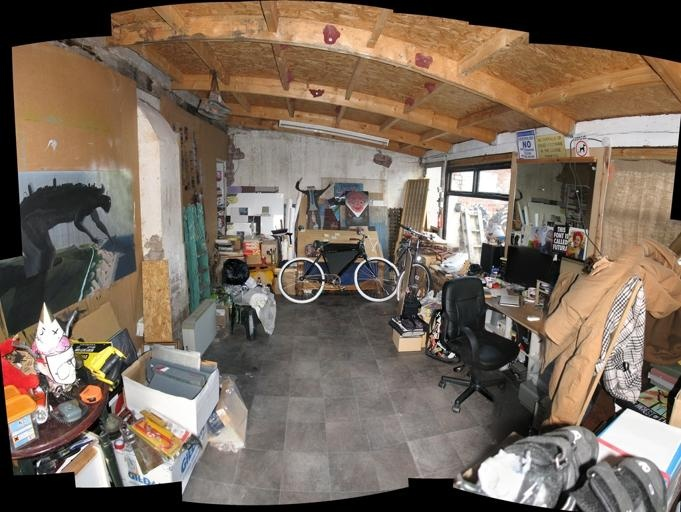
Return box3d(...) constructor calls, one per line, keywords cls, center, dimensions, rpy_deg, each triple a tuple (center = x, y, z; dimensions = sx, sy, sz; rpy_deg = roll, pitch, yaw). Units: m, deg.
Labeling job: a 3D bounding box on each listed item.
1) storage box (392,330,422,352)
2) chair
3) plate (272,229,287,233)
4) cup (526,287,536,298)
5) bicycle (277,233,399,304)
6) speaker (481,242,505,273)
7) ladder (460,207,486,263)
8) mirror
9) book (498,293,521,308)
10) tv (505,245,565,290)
box3d(cls="storage box", center=(0.825, 1.051, 5.369), dimensions=(0.251, 0.158, 0.252), rpy_deg=(0, 2, -3))
box3d(cls="chair", center=(1.313, 0.833, 4.210), dimensions=(0.713, 1.137, 0.758), rpy_deg=(5, 15, 25))
box3d(cls="plate", center=(-1.124, -0.459, 8.257), dimensions=(0.294, 0.090, 0.290), rpy_deg=(3, 11, -5))
box3d(cls="cup", center=(2.021, 0.385, 4.654), dimensions=(0.063, 0.106, 0.169), rpy_deg=(7, 12, 17))
box3d(cls="bicycle", center=(-0.005, 0.244, 7.406), dimensions=(2.044, 1.192, 0.836), rpy_deg=(0, -21, -4))
box3d(cls="speaker", center=(1.958, 0.032, 5.606), dimensions=(0.189, 0.364, 0.372), rpy_deg=(0, 4, -7))
box3d(cls="ladder", center=(2.092, -0.341, 6.961), dimensions=(0.216, 0.877, 0.783), rpy_deg=(2, 11, -7))
box3d(cls="mirror", center=(2.243, -0.508, 4.609), dimensions=(0.076, 1.019, 1.160), rpy_deg=(-4, 9, -18))
box3d(cls="book", center=(1.782, 0.472, 4.626), dimensions=(0.139, 0.035, 0.151), rpy_deg=(4, 23, 12))
box3d(cls="tv", center=(2.061, 0.119, 4.614), dimensions=(0.124, 0.308, 0.424), rpy_deg=(1, 15, -23))
